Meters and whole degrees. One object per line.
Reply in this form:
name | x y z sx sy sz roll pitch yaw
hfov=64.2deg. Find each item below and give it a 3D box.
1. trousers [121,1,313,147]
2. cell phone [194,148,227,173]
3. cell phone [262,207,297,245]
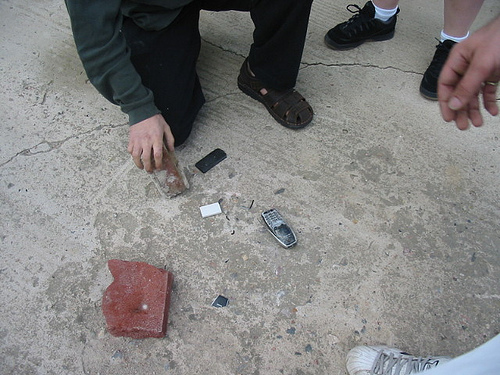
trousers | -0.167 -0.827 2.295 1.000 0.498 0.640 -26 69 -3
cell phone | -0.223 -0.163 2.330 0.187 0.039 0.093 -39 67 -22
cell phone | 0.159 0.210 2.085 0.090 0.061 0.238 -30 73 -9
